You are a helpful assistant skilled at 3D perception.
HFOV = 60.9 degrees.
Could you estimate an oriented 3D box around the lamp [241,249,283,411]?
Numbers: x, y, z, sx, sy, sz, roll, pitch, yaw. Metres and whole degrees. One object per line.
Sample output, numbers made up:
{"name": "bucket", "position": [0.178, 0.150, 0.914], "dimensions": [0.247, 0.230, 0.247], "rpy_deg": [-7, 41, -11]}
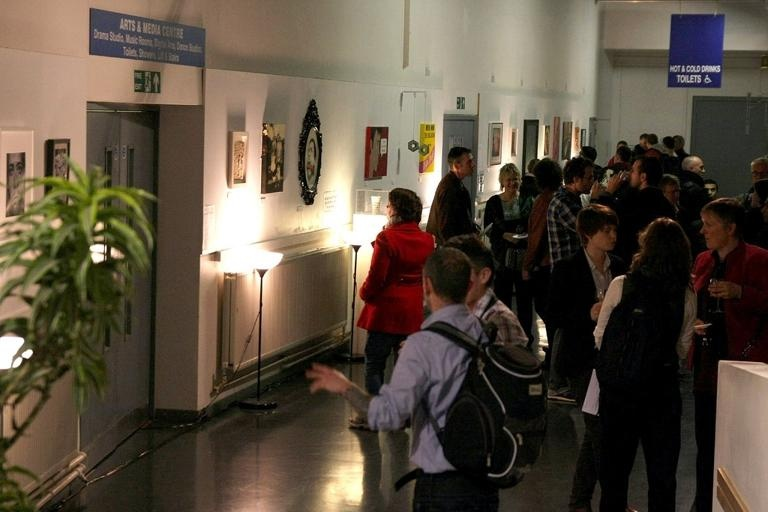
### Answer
{"name": "lamp", "position": [-1.352, 0.757, 7.120], "dimensions": [0.434, 1.711, 0.556], "rpy_deg": [0, 7, -14]}

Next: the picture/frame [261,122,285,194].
{"name": "picture/frame", "position": [-1.286, -1.135, 7.631], "dimensions": [0.068, 0.801, 0.510], "rpy_deg": [3, 8, 17]}

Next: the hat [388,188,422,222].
{"name": "hat", "position": [0.205, -0.541, 6.601], "dimensions": [0.260, 0.346, 0.343], "rpy_deg": [-4, 27, -37]}

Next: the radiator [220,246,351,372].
{"name": "radiator", "position": [-1.136, 0.607, 8.137], "dimensions": [2.153, 1.161, 0.161], "rpy_deg": [-13, -13, 43]}

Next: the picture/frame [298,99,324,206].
{"name": "picture/frame", "position": [-0.933, -1.308, 8.289], "dimensions": [0.096, 1.330, 0.506], "rpy_deg": [4, 8, 20]}

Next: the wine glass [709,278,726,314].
{"name": "wine glass", "position": [2.406, 0.303, 4.826], "dimensions": [0.121, 0.283, 0.280], "rpy_deg": [5, 9, 27]}

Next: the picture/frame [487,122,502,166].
{"name": "picture/frame", "position": [2.309, -2.437, 14.131], "dimensions": [0.045, 1.480, 0.999], "rpy_deg": [-1, 0, 21]}
